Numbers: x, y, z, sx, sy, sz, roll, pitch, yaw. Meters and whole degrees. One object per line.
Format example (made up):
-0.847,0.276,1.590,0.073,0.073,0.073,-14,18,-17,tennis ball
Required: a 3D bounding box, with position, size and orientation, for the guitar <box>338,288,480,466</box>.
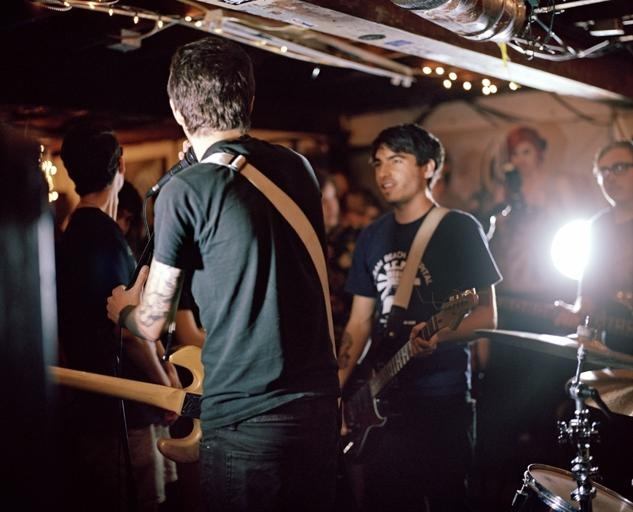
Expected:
0.504,0.674,3.209,0.156,1.077,0.392,15,38,-31,guitar
